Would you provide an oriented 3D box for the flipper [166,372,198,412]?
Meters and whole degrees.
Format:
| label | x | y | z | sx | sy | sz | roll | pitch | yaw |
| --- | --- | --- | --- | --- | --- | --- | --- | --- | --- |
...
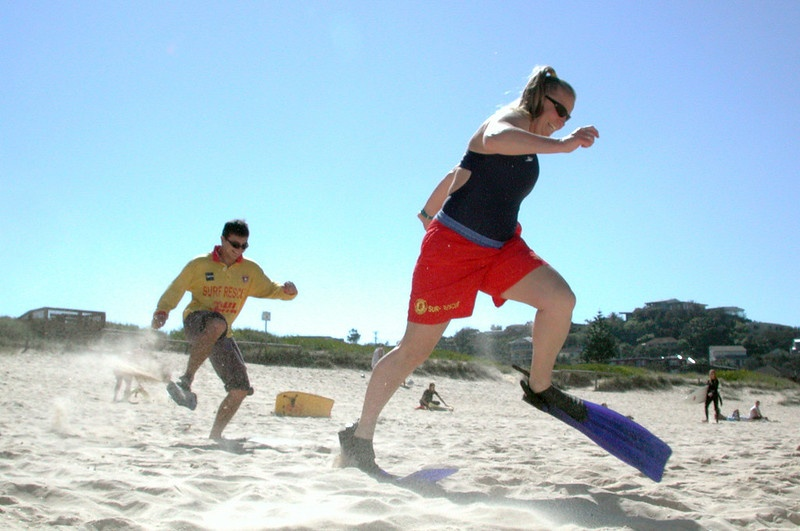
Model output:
| label | x | y | z | sx | sy | sz | roll | pitch | yaw |
| --- | --- | --- | --- | --- | --- | --- | --- | --- | --- |
| flipper | -1.848 | 1.061 | 4.908 | 0.282 | 0.110 | 0.211 | 37 | -25 | 34 |

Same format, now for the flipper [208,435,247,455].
| label | x | y | z | sx | sy | sz | roll | pitch | yaw |
| --- | --- | --- | --- | --- | --- | --- | --- | --- | --- |
| flipper | -1.525 | 1.577 | 5.073 | 0.327 | 0.064 | 0.945 | 5 | -6 | -14 |

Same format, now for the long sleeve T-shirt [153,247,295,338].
| label | x | y | z | sx | sy | sz | roll | pitch | yaw |
| --- | --- | --- | --- | --- | --- | --- | --- | --- | --- |
| long sleeve T-shirt | -1.658 | 0.291 | 5.468 | 1.315 | 0.872 | 0.746 | 6 | 9 | -24 |

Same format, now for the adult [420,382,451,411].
| label | x | y | z | sx | sy | sz | roll | pitch | yaw |
| --- | --- | --- | --- | --- | --- | --- | --- | --- | --- |
| adult | 0.971 | 3.712 | 16.314 | 0.630 | 0.622 | 1.140 | -11 | 2 | 8 |

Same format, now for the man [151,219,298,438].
| label | x | y | z | sx | sy | sz | roll | pitch | yaw |
| --- | --- | --- | --- | --- | --- | --- | --- | --- | --- |
| man | -1.651 | 0.600 | 5.369 | 1.163 | 2.108 | 0.967 | 14 | -32 | -32 |

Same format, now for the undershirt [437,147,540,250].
| label | x | y | z | sx | sy | sz | roll | pitch | yaw |
| --- | --- | --- | --- | --- | --- | --- | --- | --- | --- |
| undershirt | 0.590 | -0.465 | 3.951 | 0.382 | 0.633 | 0.481 | 39 | 14 | 38 |

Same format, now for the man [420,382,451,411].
| label | x | y | z | sx | sy | sz | roll | pitch | yaw |
| --- | --- | --- | --- | --- | --- | --- | --- | --- | --- |
| man | 0.971 | 3.712 | 16.314 | 0.630 | 0.622 | 1.140 | -11 | 2 | 8 |

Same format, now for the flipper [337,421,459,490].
| label | x | y | z | sx | sy | sz | roll | pitch | yaw |
| --- | --- | --- | --- | --- | --- | --- | --- | --- | --- |
| flipper | 0.063 | 1.373 | 4.272 | 1.030 | 0.519 | 0.359 | -6 | -7 | 20 |
